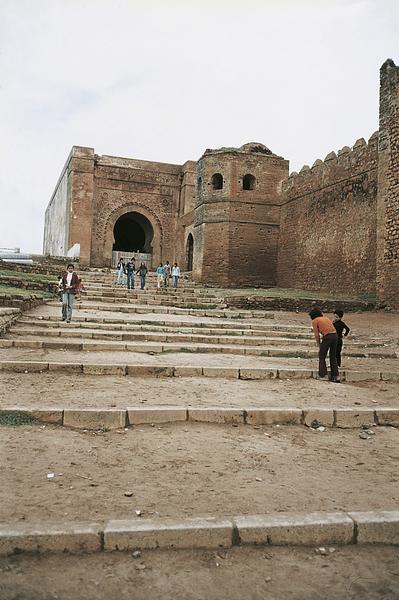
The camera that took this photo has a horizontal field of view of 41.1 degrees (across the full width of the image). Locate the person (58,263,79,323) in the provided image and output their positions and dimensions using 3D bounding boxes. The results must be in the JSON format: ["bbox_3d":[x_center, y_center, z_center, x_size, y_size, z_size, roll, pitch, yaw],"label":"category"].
[{"bbox_3d":[-2.542,-0.140,10.460,0.355,1.104,0.907,3,5,-14],"label":"person"}]

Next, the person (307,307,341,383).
[{"bbox_3d":[1.706,0.617,7.356,0.442,0.954,0.595,5,5,11],"label":"person"}]

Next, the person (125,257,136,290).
[{"bbox_3d":[-2.288,-0.866,17.638,0.266,0.981,1.133,3,5,-7],"label":"person"}]
